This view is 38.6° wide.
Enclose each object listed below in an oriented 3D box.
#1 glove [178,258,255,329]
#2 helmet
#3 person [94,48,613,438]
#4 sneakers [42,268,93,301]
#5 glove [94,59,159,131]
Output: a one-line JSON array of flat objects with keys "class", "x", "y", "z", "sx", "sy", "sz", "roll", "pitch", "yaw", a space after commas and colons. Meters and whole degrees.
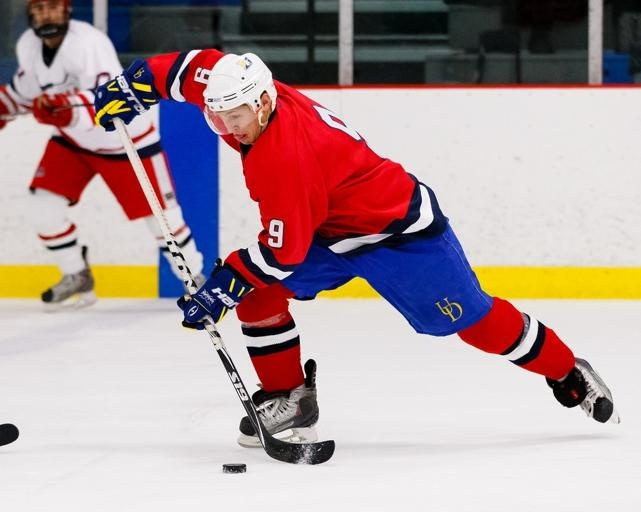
[{"class": "glove", "x": -0.353, "y": 0.141, "z": 3.290, "sx": 0.295, "sy": 0.173, "sz": 0.086, "roll": -44, "pitch": -9, "yaw": 12}, {"class": "helmet", "x": -0.280, "y": -0.572, "z": 3.170, "sx": 0.253, "sy": 0.247, "sz": 0.174, "roll": -2, "pitch": 11, "yaw": -7}, {"class": "person", "x": 0.073, "y": -0.037, "z": 3.383, "sx": 1.817, "sy": 1.420, "sz": 0.557, "roll": -1, "pitch": 10, "yaw": -2}, {"class": "sneakers", "x": -1.532, "y": 0.191, "z": 5.629, "sx": 0.139, "sy": 0.164, "sz": 0.363, "roll": 2, "pitch": 22, "yaw": 37}, {"class": "glove", "x": -0.733, "y": -0.605, "z": 3.487, "sx": 0.279, "sy": 0.187, "sz": 0.103, "roll": -28, "pitch": 19, "yaw": 20}]
